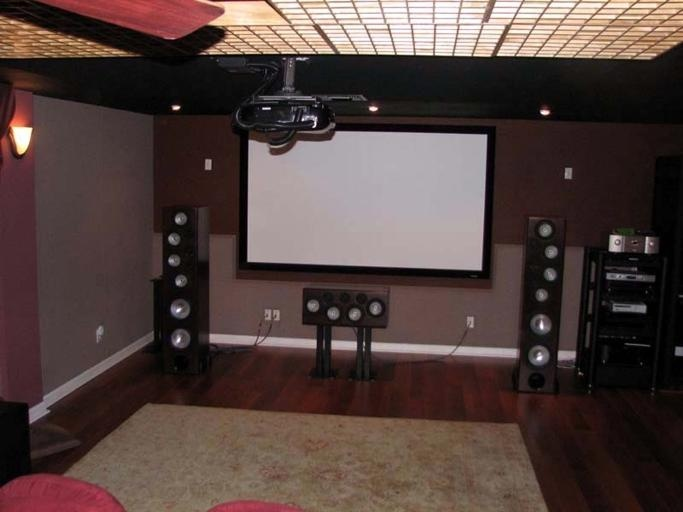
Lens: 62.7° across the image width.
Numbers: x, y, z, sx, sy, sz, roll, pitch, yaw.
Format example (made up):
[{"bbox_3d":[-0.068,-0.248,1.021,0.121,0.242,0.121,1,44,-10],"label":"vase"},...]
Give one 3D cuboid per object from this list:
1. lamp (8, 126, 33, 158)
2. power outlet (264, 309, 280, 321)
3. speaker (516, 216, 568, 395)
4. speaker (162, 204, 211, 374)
[{"bbox_3d":[-2.400,-0.865,4.244,0.127,0.234,0.194,2,12,3],"label":"lamp"},{"bbox_3d":[-0.743,0.630,6.086,0.121,0.091,0.036,0,0,3],"label":"power outlet"},{"bbox_3d":[1.765,0.437,4.917,0.377,1.532,0.274,5,12,18],"label":"speaker"},{"bbox_3d":[-1.464,0.309,5.277,0.411,1.540,0.450,-1,12,-9],"label":"speaker"}]
